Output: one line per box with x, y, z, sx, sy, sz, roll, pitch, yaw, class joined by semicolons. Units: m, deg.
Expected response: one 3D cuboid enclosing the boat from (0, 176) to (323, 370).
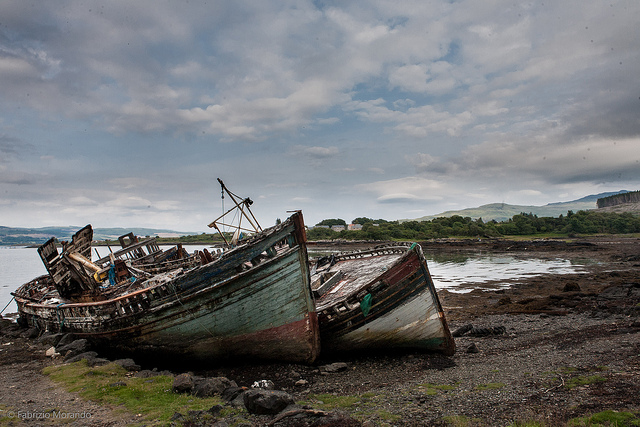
-7.664;2.731;19.257;15.460;8.646;5.754;0;4;32;boat
